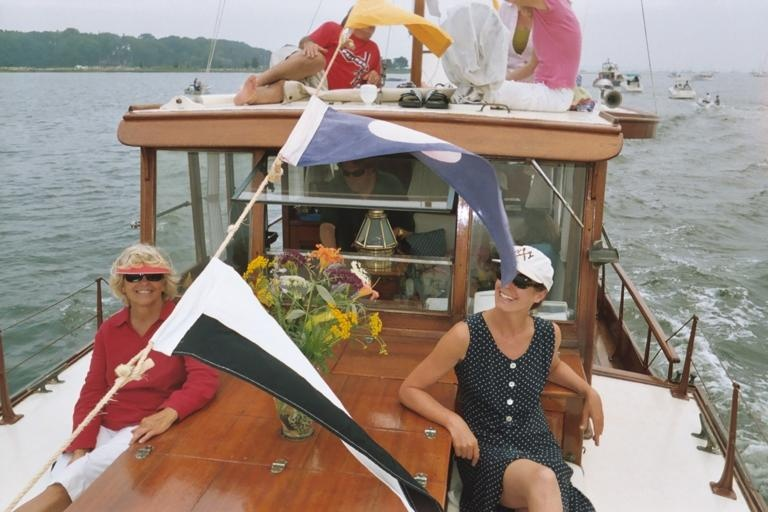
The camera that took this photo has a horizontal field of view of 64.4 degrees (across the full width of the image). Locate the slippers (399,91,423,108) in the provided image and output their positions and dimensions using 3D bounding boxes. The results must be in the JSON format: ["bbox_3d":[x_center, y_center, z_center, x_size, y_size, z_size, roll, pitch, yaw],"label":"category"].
[{"bbox_3d":[0.268,-1.526,5.939,0.127,0.092,0.224,3,33,5],"label":"slippers"}]

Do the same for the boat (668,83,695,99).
[{"bbox_3d":[32.067,-17.881,65.884,1.677,1.463,3.634,5,34,17],"label":"boat"}]

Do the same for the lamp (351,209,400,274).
[{"bbox_3d":[-0.066,-0.166,5.818,0.494,0.587,0.479,-6,12,-27],"label":"lamp"}]

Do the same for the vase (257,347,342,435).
[{"bbox_3d":[-0.654,1.061,4.521,0.466,0.803,0.524,-1,10,2],"label":"vase"}]
